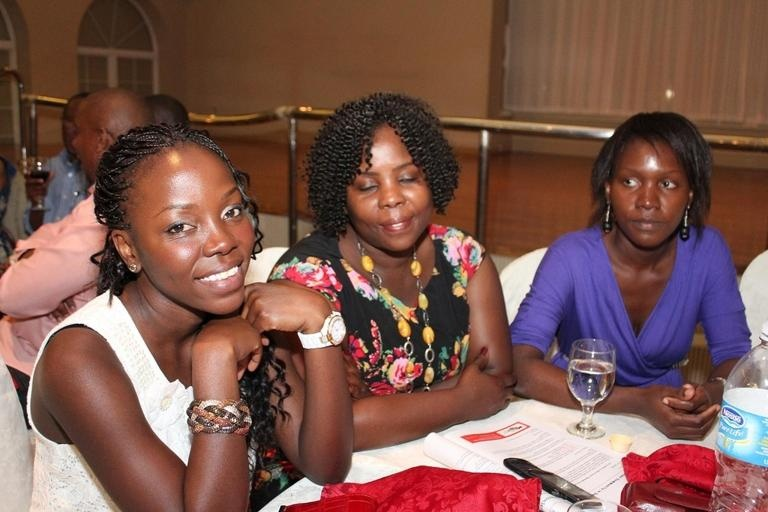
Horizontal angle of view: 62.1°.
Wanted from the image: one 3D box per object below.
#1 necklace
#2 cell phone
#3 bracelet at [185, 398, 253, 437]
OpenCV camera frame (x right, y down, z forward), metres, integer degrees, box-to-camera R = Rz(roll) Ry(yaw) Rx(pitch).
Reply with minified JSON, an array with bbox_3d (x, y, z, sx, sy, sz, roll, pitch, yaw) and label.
[{"bbox_3d":[0.064,0.184,2.532,0.198,0.703,0.056,-10,-14,-15],"label":"necklace"},{"bbox_3d":[0.471,0.640,1.802,0.082,0.035,0.298,-6,13,-42],"label":"cell phone"},{"bbox_3d":[-0.499,0.477,1.928,0.130,0.061,0.116,4,-5,-31],"label":"bracelet"}]
